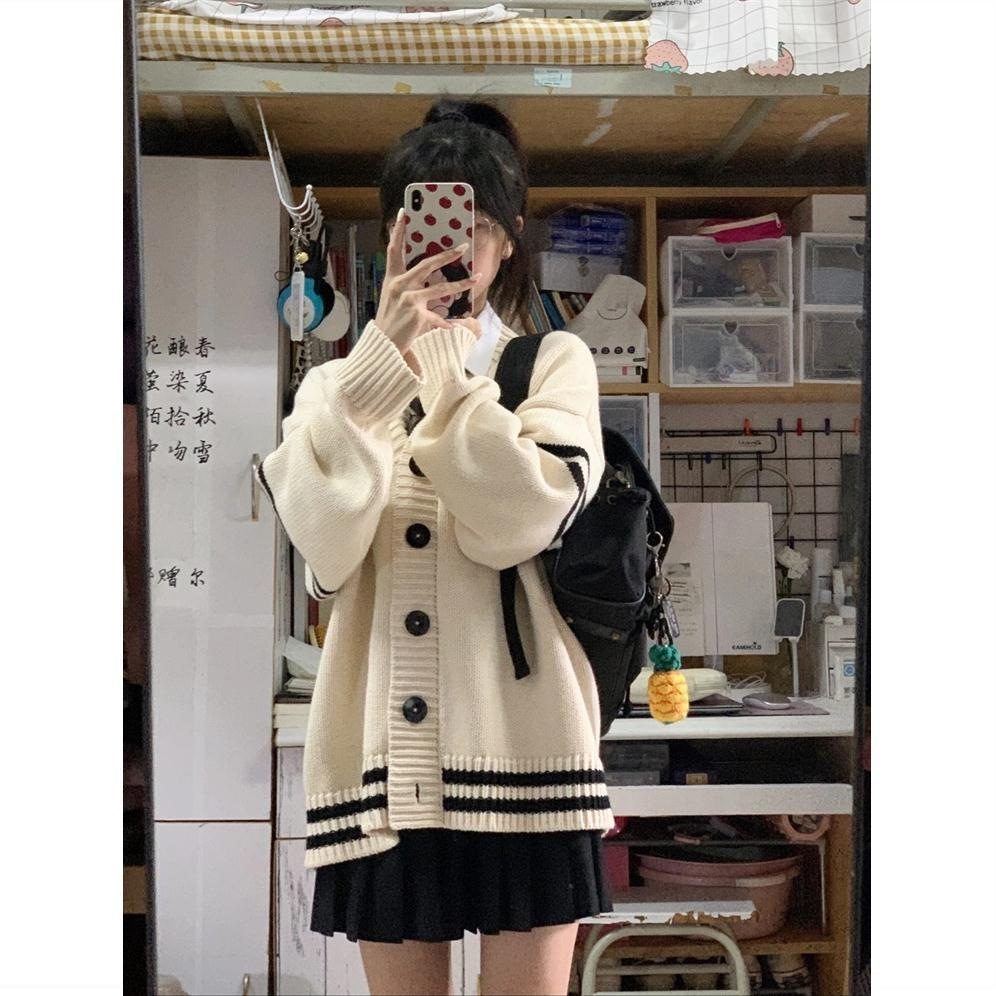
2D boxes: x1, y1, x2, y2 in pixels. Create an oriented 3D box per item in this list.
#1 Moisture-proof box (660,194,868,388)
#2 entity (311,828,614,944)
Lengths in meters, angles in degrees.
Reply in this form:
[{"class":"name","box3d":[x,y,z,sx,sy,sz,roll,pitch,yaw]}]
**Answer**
[{"class":"Moisture-proof box","box3d":[0.611,-0.457,3.393,0.495,0.496,0.275,0,-4,1]},{"class":"entity","box3d":[-0.050,0.527,2.016,0.405,0.153,0.057,0,-2,0]}]
